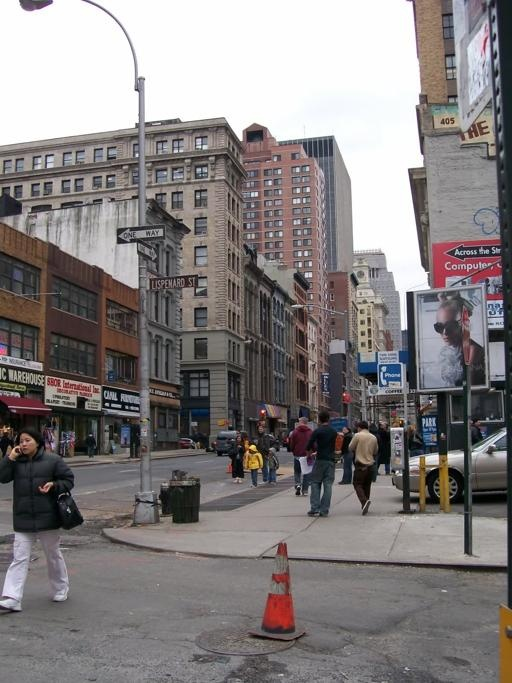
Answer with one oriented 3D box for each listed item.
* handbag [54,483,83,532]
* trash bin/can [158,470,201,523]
[{"bbox_3d":[-1.655,1.490,7.177,0.212,0.351,0.347,-1,-8,-16],"label":"handbag"},{"bbox_3d":[-1.322,2.770,14.405,0.680,1.015,0.970,0,-12,-6],"label":"trash bin/can"}]
